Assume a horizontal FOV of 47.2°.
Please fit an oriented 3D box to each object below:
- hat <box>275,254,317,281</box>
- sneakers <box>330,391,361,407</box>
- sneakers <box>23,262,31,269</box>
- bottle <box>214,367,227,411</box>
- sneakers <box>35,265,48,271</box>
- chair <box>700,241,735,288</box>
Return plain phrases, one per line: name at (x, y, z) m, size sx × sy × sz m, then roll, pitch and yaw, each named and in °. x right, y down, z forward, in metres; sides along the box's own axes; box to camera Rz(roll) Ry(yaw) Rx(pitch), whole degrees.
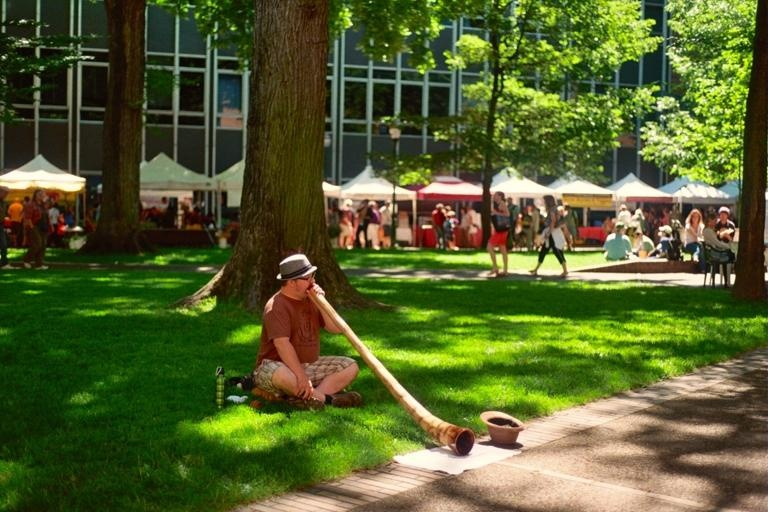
hat at (-1.160, 0.209, 11.592) m, size 0.405 × 0.158 × 0.369 m, roll -20°, pitch 6°, yaw 20°
sneakers at (-0.497, 1.894, 11.671) m, size 0.323 × 0.117 × 0.190 m, roll 5°, pitch -12°, yaw -40°
sneakers at (-9.876, 0.233, 24.360) m, size 0.193 × 0.193 × 0.309 m, roll -3°, pitch 12°, yaw -23°
bottle at (-2.159, 1.684, 11.602) m, size 0.138 × 0.527 × 0.384 m, roll 0°, pitch 11°, yaw -10°
sneakers at (-9.431, 0.346, 24.234) m, size 0.327 × 0.136 × 0.120 m, roll -3°, pitch 22°, yaw -7°
chair at (8.790, 0.265, 22.962) m, size 0.692 × 0.923 × 0.705 m, roll -2°, pitch -3°, yaw 39°
